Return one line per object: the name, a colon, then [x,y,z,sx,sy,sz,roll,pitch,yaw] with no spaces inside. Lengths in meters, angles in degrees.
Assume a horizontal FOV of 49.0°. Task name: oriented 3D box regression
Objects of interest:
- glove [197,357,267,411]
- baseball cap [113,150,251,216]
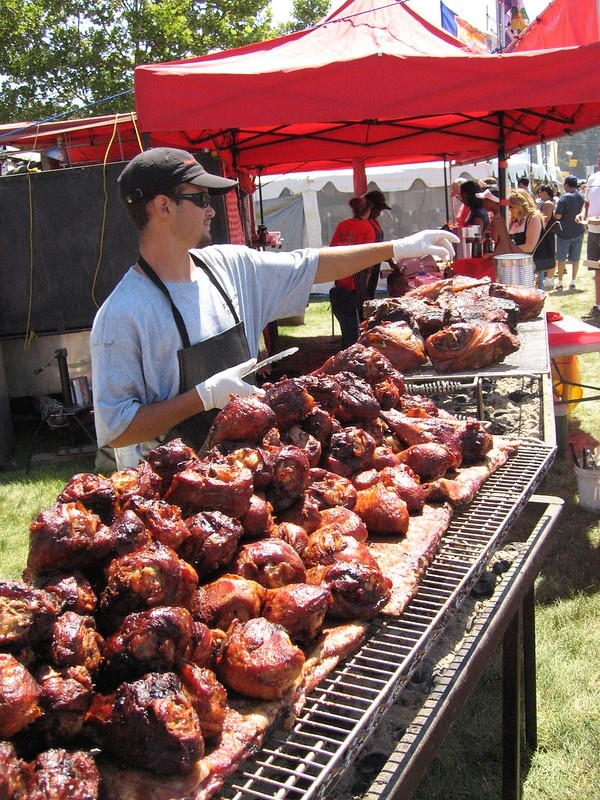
glove: [-0.203,-0.035,2.043,0.204,0.056,0.145,-16,30,-2]
baseball cap: [-0.422,-0.751,2.218,0.349,0.135,0.211,-14,18,-13]
